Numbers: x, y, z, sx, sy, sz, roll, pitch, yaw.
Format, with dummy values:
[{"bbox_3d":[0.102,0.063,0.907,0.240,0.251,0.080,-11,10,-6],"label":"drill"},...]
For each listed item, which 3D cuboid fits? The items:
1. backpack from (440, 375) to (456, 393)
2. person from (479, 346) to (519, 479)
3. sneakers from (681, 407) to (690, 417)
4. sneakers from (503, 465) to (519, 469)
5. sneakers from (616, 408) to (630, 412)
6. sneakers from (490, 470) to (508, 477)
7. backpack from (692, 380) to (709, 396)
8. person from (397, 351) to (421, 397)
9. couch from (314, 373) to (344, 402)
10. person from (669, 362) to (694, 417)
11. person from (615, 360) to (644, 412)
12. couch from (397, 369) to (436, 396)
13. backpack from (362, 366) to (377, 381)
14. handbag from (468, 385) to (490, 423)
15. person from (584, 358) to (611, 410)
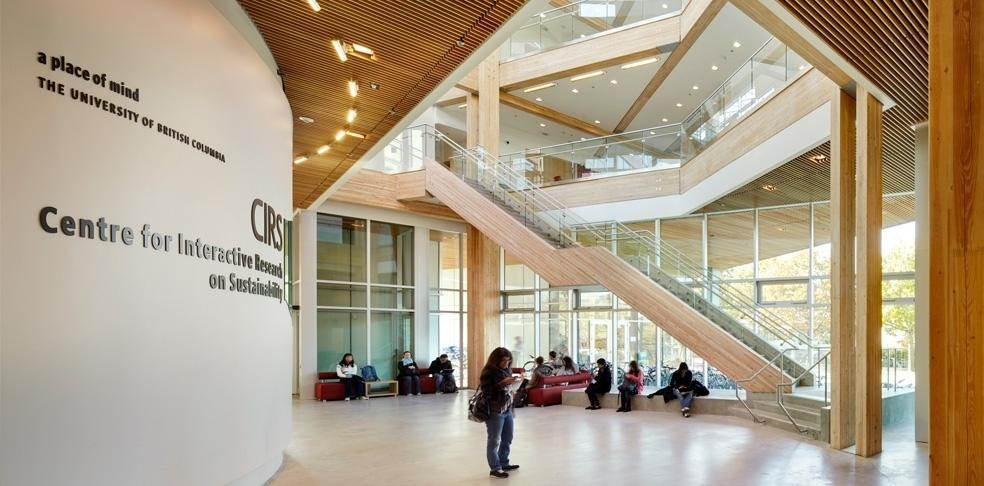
[{"bbox_3d":[-1.574,5.193,22.052,0.667,0.535,0.475,-5,-8,22],"label":"backpack"},{"bbox_3d":[0.129,3.229,11.705,0.679,2.334,0.794,-1,-1,7],"label":"person"},{"bbox_3d":[5.317,4.655,16.691,0.132,0.297,0.140,-11,4,11],"label":"sneakers"},{"bbox_3d":[0.359,4.348,11.666,0.316,0.103,0.103,3,-10,-11],"label":"sneakers"},{"bbox_3d":[3.815,4.878,17.661,0.380,0.113,0.116,1,-7,6],"label":"sneakers"},{"bbox_3d":[0.132,4.350,11.394,0.320,0.111,0.118,0,-9,4],"label":"sneakers"},{"bbox_3d":[5.890,4.130,17.189,0.332,0.352,0.543,-1,-2,26],"label":"backpack"},{"bbox_3d":[-2.965,4.670,21.724,0.809,1.468,0.629,-1,-1,-9],"label":"person"},{"bbox_3d":[-5.374,4.959,20.392,1.309,0.999,0.860,5,-10,-31],"label":"couch"},{"bbox_3d":[5.398,4.106,17.023,0.617,1.062,0.770,-1,-1,-9],"label":"person"},{"bbox_3d":[3.995,4.198,17.863,0.457,0.982,1.043,-2,-2,36],"label":"person"},{"bbox_3d":[-2.689,4.989,21.897,1.184,0.671,0.808,8,-12,-41],"label":"couch"},{"bbox_3d":[-4.304,4.605,21.201,0.542,0.444,0.278,0,-20,-42],"label":"backpack"},{"bbox_3d":[-0.274,3.127,11.568,0.331,0.698,0.449,-1,-1,-11],"label":"handbag"},{"bbox_3d":[3.173,4.231,18.252,0.729,1.003,0.748,-1,-1,5],"label":"person"}]
